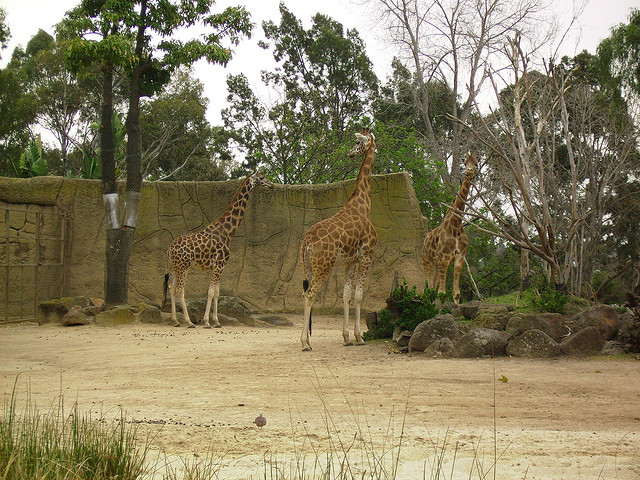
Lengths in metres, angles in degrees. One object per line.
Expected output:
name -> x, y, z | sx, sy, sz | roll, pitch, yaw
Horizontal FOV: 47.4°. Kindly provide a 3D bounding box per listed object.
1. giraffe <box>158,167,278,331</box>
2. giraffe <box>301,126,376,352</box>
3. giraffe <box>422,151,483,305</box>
giraffe -> -2.373, 0.307, 15.612 | 1.881, 3.108, 1.439 | -3, 8, -17
giraffe -> 0.361, -0.037, 12.900 | 1.028, 3.809, 2.194 | 4, 9, 32
giraffe -> 2.438, -0.199, 13.750 | 0.908, 2.896, 1.153 | 0, 8, 2
